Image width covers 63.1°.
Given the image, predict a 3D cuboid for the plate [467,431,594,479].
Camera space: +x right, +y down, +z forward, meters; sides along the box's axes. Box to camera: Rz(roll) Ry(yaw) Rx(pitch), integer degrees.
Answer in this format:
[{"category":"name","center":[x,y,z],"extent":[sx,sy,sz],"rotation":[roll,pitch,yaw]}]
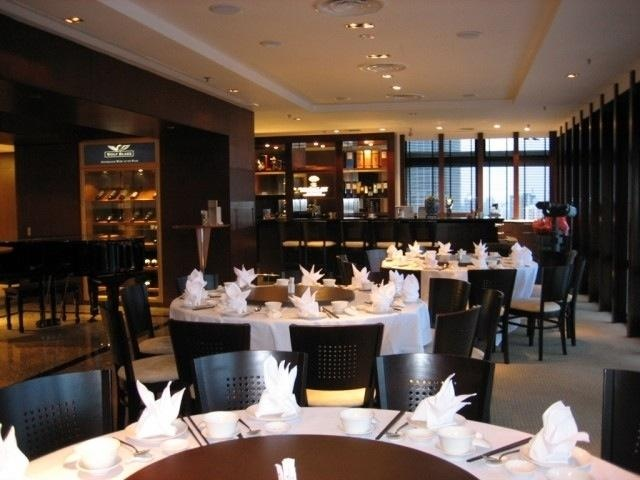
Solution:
[{"category":"plate","center":[0.749,0.781,1.873],"extent":[0.299,0.054,0.090],"rotation":[-13,12,-4]}]

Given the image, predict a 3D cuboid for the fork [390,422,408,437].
[{"category":"fork","center":[0.314,0.754,2.093],"extent":[0.027,0.016,0.116],"rotation":[3,4,19]}]

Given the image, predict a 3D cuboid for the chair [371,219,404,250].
[{"category":"chair","center":[1.197,-0.110,9.824],"extent":[0.493,0.813,0.521],"rotation":[1,13,8]}]

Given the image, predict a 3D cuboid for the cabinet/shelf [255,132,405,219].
[{"category":"cabinet/shelf","center":[0.158,-1.491,12.208],"extent":[3.274,1.932,1.264],"rotation":[-1,5,-2]}]

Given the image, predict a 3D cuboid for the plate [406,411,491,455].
[{"category":"plate","center":[0.485,0.751,2.030],"extent":[0.325,0.081,0.247],"rotation":[-1,5,-5]}]
